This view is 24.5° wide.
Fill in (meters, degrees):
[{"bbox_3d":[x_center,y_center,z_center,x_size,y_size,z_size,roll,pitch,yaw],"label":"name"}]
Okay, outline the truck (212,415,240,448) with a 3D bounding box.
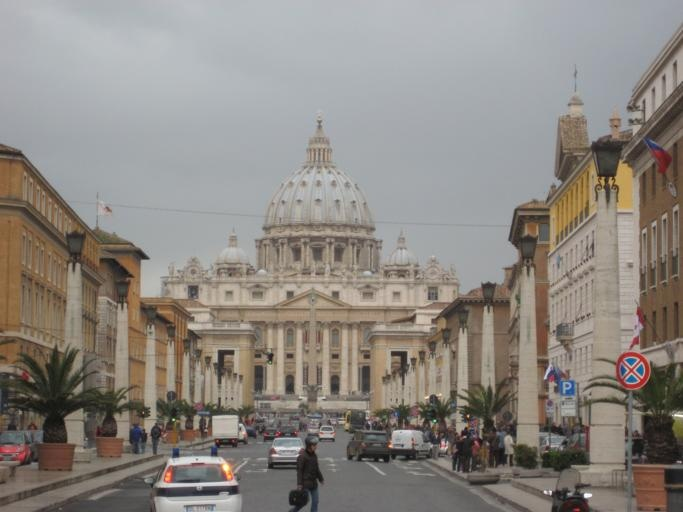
[{"bbox_3d":[-7.628,11.577,104.698,1.800,2.315,3.999,-2,6,2],"label":"truck"}]
